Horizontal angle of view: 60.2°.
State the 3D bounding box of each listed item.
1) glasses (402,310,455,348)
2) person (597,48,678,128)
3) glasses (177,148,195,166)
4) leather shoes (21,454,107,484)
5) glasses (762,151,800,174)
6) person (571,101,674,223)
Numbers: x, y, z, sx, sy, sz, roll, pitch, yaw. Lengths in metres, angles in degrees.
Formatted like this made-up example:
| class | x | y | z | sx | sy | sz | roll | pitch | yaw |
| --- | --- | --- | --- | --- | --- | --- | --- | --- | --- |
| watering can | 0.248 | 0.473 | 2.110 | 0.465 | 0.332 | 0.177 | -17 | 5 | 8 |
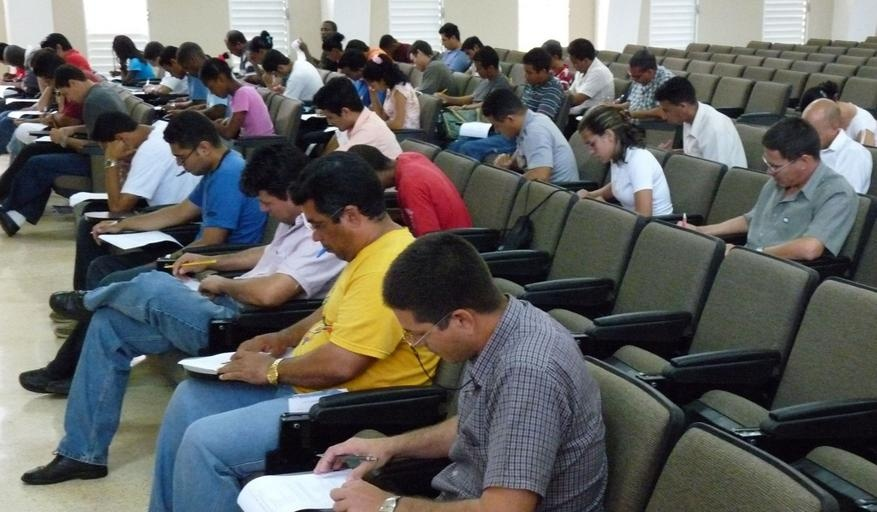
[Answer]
| class | x | y | z | sx | sy | sz | roll | pitch | yaw |
| --- | --- | --- | --- | --- | --- | --- | --- | --- | --- |
| glasses | -0.034 | 0.290 | 3.013 | 0.045 | 0.159 | 0.154 | 46 | 0 | 11 |
| person | 2.242 | -1.603 | 8.253 | 0.616 | 1.102 | 0.609 | 4 | -8 | 25 |
| glasses | -1.646 | -0.645 | 4.912 | 0.097 | 0.104 | 0.035 | 10 | 10 | 31 |
| leather shoes | -2.015 | 1.163 | 4.186 | 0.480 | 0.213 | 0.160 | 3 | -1 | -12 |
| glasses | 2.072 | -0.559 | 4.578 | 0.157 | 0.047 | 0.150 | 3 | 16 | -20 |
| person | 1.342 | -0.617 | 5.312 | 0.562 | 0.897 | 0.686 | -18 | 26 | -12 |
